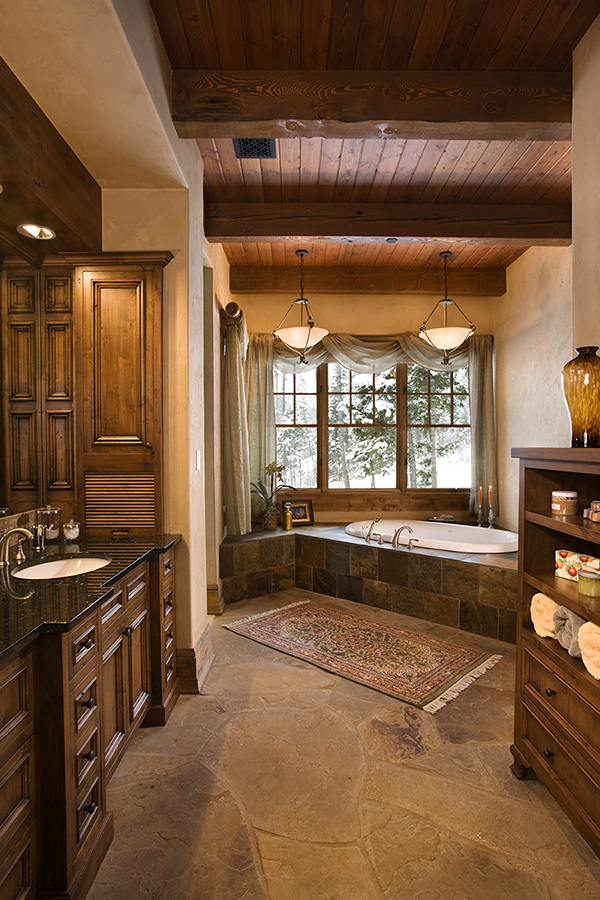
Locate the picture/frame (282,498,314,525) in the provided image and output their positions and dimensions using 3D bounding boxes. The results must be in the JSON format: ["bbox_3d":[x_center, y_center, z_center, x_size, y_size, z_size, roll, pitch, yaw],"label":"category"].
[{"bbox_3d":[-0.020,0.523,5.192,0.193,0.176,0.013,7,-30,-37],"label":"picture/frame"}]

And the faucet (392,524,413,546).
[{"bbox_3d":[0.703,0.550,4.277,0.116,0.126,0.243,-2,-2,0],"label":"faucet"}]

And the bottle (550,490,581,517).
[{"bbox_3d":[0.873,0.178,2.064,0.076,0.080,0.079,0,1,-17],"label":"bottle"}]

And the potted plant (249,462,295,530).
[{"bbox_3d":[-0.261,0.378,5.223,0.416,0.546,0.510,0,0,2],"label":"potted plant"}]

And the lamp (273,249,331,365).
[{"bbox_3d":[0.021,-1.142,4.861,0.386,0.880,0.409,1,-4,-18],"label":"lamp"}]

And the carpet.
[{"bbox_3d":[0.377,1.088,3.562,1.001,0.036,1.513,-3,5,-45],"label":"carpet"}]

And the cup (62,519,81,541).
[{"bbox_3d":[-0.972,0.343,2.668,0.062,0.094,0.088,2,3,23],"label":"cup"}]

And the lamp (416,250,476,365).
[{"bbox_3d":[1.172,-1.153,5.023,0.486,0.965,0.481,7,-9,-43],"label":"lamp"}]
